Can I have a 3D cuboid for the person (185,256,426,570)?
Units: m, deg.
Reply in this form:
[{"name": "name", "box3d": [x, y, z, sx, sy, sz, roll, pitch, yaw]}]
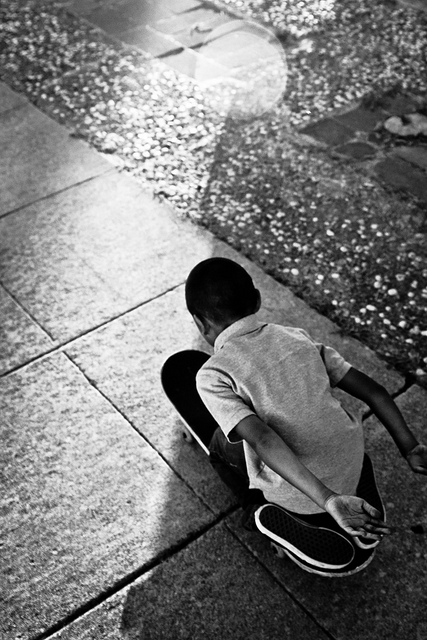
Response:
[{"name": "person", "box3d": [0.321, 0.354, 2.250, 0.494, 0.696, 1.056, -25, 40, -12]}]
